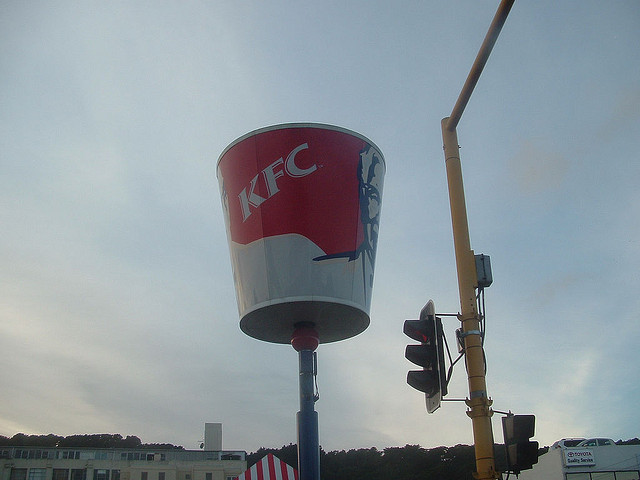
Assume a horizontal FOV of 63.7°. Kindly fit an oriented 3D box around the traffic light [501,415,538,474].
[{"bbox_3d":[2.669,2.676,6.871,0.436,1.028,0.521,0,10,21],"label":"traffic light"}]
